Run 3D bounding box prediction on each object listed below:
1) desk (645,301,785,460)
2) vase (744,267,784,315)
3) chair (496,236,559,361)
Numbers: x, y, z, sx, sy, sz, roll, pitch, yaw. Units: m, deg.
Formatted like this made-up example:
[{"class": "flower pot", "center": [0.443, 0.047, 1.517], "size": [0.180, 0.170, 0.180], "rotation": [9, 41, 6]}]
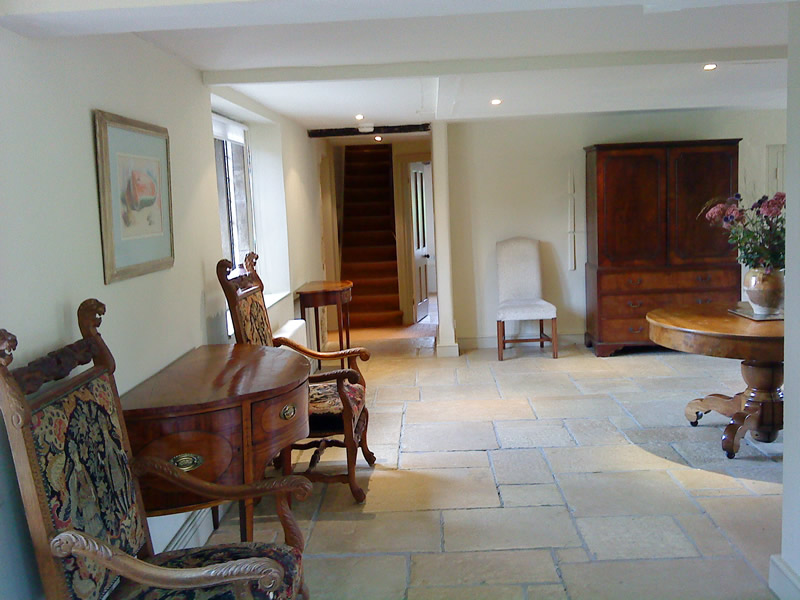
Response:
[{"class": "desk", "center": [2.140, 0.548, 4.006], "size": [0.784, 0.850, 0.804], "rotation": [5, 13, 39]}, {"class": "vase", "center": [2.455, -0.064, 3.992], "size": [0.275, 0.306, 0.287], "rotation": [1, 3, 37]}, {"class": "chair", "center": [1.371, -0.039, 6.537], "size": [0.638, 1.256, 0.766], "rotation": [-1, 10, 8]}]
